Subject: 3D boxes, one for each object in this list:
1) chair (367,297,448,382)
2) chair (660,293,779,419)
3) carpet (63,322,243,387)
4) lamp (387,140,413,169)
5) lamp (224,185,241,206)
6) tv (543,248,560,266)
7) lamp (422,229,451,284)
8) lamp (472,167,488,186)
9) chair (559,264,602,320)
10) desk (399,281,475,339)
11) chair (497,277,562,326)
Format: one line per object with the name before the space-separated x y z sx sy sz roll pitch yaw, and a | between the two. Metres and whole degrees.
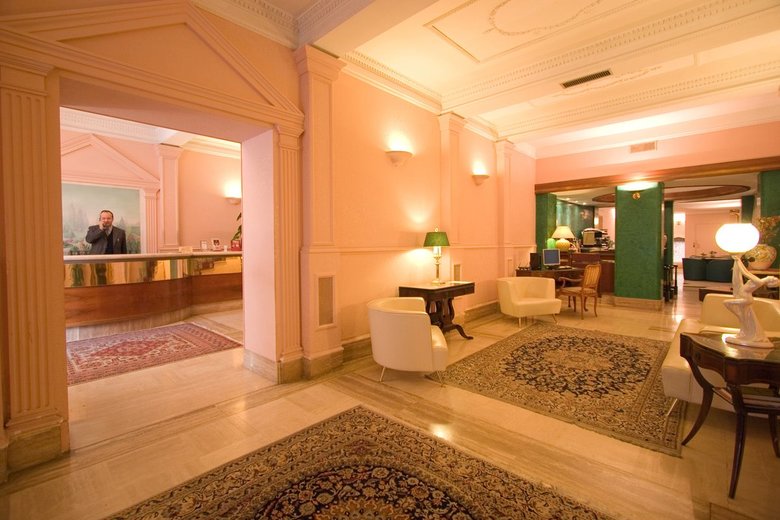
chair | 0.229 0.995 6.452 1.097 0.926 1.088 -1 4 2
chair | 3.624 1.084 5.208 0.701 0.631 1.477 6 11 41
carpet | -3.761 1.345 7.490 2.257 0.123 2.004 -6 10 -36
lamp | 0.127 -1.659 7.372 0.455 0.170 0.432 -1 0 -7
lamp | -3.657 -1.488 11.077 0.405 0.411 0.387 -4 10 -26
tv | 3.461 -0.055 10.270 0.379 0.246 0.039 3 -8 -28
lamp | 0.728 -0.054 7.731 0.375 0.864 0.832 0 8 4
lamp | 1.698 -1.613 9.113 0.371 0.157 0.363 0 0 21
chair | 3.982 0.556 9.900 0.653 1.107 1.823 4 9 24
desk | 0.701 0.628 7.662 0.887 1.037 1.498 -2 -1 39
chair | 2.535 0.711 8.803 0.973 0.731 0.739 -4 9 -23
